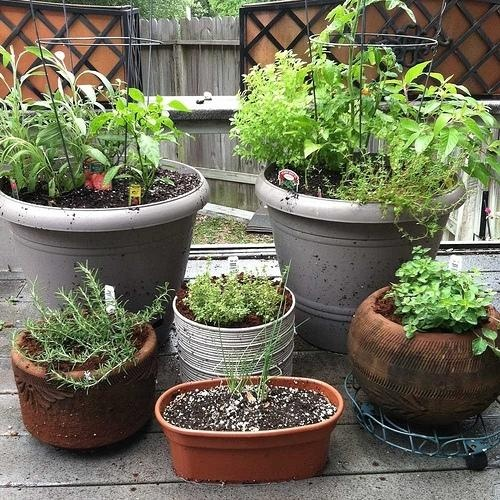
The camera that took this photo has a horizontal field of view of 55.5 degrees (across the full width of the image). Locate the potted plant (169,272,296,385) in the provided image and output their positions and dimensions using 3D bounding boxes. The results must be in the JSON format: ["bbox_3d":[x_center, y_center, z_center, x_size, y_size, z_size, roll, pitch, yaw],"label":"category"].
[{"bbox_3d":[-0.042,0.189,1.412,0.402,0.223,0.356,-3,15,-7],"label":"potted plant"}]

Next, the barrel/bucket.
[{"bbox_3d":[-0.052,0.253,1.475,0.358,0.196,0.319,-7,21,-13],"label":"barrel/bucket"}]

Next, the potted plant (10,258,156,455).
[{"bbox_3d":[-0.419,0.286,1.415,0.599,0.459,0.428,1,8,-5],"label":"potted plant"}]
